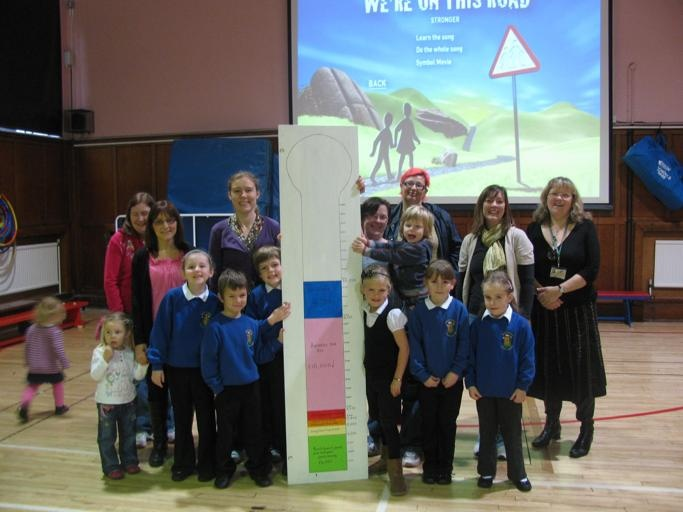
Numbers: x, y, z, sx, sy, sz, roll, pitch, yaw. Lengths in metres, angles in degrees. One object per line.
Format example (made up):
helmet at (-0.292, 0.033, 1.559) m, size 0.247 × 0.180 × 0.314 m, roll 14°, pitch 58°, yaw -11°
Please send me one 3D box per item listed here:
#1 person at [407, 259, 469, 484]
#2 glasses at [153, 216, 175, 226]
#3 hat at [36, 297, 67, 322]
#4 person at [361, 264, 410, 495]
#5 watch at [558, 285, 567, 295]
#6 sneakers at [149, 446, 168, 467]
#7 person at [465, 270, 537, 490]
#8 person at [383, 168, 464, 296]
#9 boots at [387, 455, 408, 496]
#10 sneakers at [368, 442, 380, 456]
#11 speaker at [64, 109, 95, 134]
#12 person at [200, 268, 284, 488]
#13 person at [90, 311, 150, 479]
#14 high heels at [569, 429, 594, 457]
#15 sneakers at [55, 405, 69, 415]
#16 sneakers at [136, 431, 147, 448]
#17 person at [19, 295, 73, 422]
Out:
person at (0.664, 0.808, 4.498) m, size 0.427 × 1.510 × 0.365 m, roll 2°, pitch 13°, yaw 11°
glasses at (-1.313, -0.266, 4.765) m, size 0.154 × 0.077 × 0.046 m, roll -6°, pitch 14°, yaw -20°
hat at (-2.568, 0.484, 5.723) m, size 0.214 × 0.265 × 0.210 m, roll -5°, pitch 4°, yaw 6°
person at (0.335, 0.839, 4.457) m, size 0.282 × 1.501 × 0.494 m, roll -6°, pitch 14°, yaw -24°
watch at (1.627, 0.249, 4.773) m, size 0.047 × 0.094 × 0.065 m, roll -11°, pitch -17°, yaw 4°
sneakers at (-1.355, 1.487, 4.720) m, size 0.064 × 0.088 × 0.185 m, roll 1°, pitch -7°, yaw -9°
person at (1.100, 0.864, 4.461) m, size 0.475 × 1.448 × 0.372 m, roll 2°, pitch 13°, yaw 11°
person at (0.699, -0.223, 5.108) m, size 0.765 × 1.181 × 0.677 m, roll -4°, pitch 1°, yaw 8°
boots at (0.384, 1.499, 4.449) m, size 0.130 × 0.231 × 0.168 m, roll -1°, pitch 14°, yaw -2°
sneakers at (0.240, 1.449, 4.829) m, size 0.050 × 0.066 × 0.158 m, roll -1°, pitch -16°, yaw 11°
speaker at (-3.717, -1.886, 9.091) m, size 0.331 × 0.365 × 0.349 m, roll 1°, pitch 1°, yaw 24°
person at (-0.697, 0.856, 4.502) m, size 0.540 × 1.453 × 0.371 m, roll -2°, pitch 13°, yaw -6°
person at (-1.626, 1.001, 4.659) m, size 0.307 × 1.104 × 0.390 m, roll -5°, pitch 14°, yaw -19°
high heels at (1.803, 1.412, 4.918) m, size 0.301 × 0.219 × 0.104 m, roll -5°, pitch 4°, yaw -44°
sneakers at (-2.423, 1.334, 5.569) m, size 0.054 × 0.083 × 0.116 m, roll 5°, pitch 12°, yaw 22°
sneakers at (-1.539, 1.412, 4.979) m, size 0.095 × 0.116 × 0.037 m, roll 10°, pitch -43°, yaw -28°
person at (-2.627, 0.858, 5.646) m, size 0.438 × 0.957 × 0.601 m, roll -6°, pitch 15°, yaw -24°
